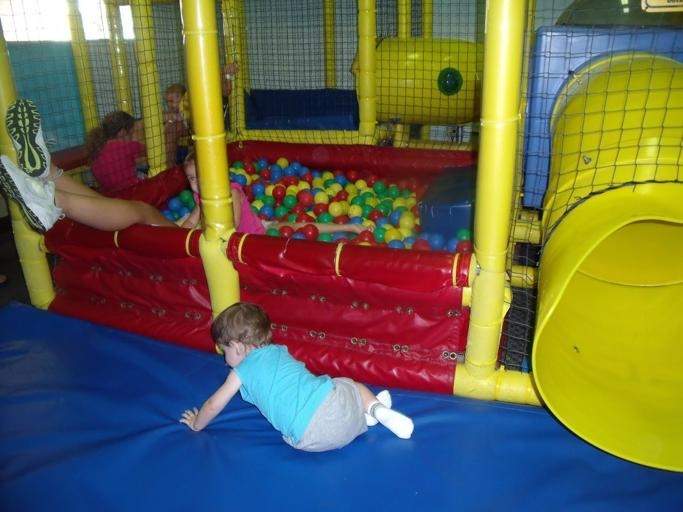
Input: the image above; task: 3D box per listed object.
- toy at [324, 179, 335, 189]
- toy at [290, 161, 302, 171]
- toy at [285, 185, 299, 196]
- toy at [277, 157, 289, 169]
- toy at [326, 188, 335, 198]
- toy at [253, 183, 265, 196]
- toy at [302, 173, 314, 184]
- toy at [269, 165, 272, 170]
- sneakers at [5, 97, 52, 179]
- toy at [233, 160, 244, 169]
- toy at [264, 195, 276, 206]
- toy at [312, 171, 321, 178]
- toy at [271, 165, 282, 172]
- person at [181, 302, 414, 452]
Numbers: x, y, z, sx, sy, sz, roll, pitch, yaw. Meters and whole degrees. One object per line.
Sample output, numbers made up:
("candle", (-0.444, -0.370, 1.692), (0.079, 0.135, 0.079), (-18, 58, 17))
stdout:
("toy", (-0.113, -0.644, 4.620), (0.084, 0.085, 0.102), (9, 0, 6))
("toy", (-0.426, -0.839, 4.851), (0.084, 0.084, 0.099), (-14, -29, 4))
("toy", (-0.438, -0.568, 4.502), (0.087, 0.067, 0.110), (1, 6, 1))
("toy", (-0.562, -0.895, 4.948), (0.118, 0.102, 0.101), (26, 28, 33))
("toy", (-0.103, -0.545, 4.479), (0.088, 0.071, 0.070), (21, 23, 22))
("toy", (-0.721, -0.576, 4.501), (0.102, 0.106, 0.119), (8, 10, 0))
("toy", (-0.305, -0.705, 4.748), (0.088, 0.088, 0.104), (26, 8, -23))
("toy", (-0.673, -0.842, 4.911), (0.037, 0.009, 0.038), (-33, 45, -11))
("sneakers", (-1.687, -0.621, 2.825), (0.188, 0.468, 0.186), (-8, -13, -11))
("toy", (-0.981, -0.863, 4.879), (0.080, 0.080, 0.095), (-17, -8, -17))
("toy", (-0.611, -0.463, 4.363), (0.083, 0.085, 0.099), (10, -13, 17))
("toy", (-0.233, -0.760, 4.826), (0.083, 0.071, 0.071), (-3, 5, 21))
("toy", (-0.611, -0.819, 4.825), (0.076, 0.077, 0.090), (-6, -24, 14))
("person", (-0.192, 0.597, 2.413), (1.090, 0.521, 0.592), (13, 24, 22))
